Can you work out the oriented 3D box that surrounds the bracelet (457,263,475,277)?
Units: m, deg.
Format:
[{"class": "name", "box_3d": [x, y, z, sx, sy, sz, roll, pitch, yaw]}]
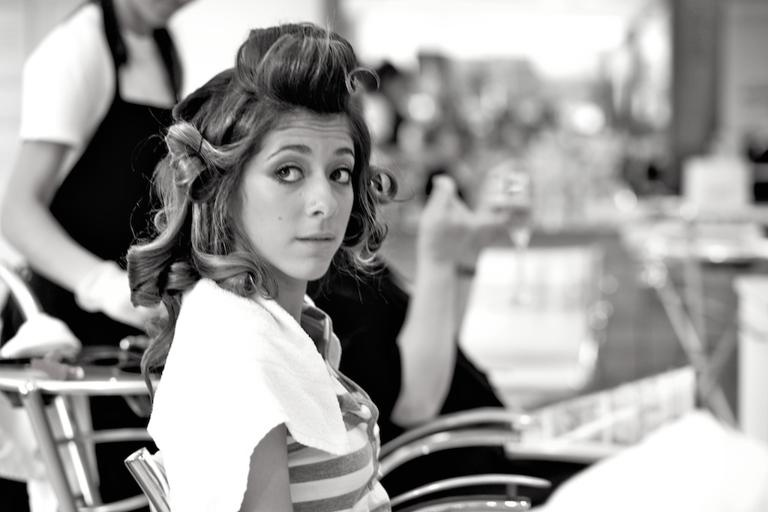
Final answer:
[{"class": "bracelet", "box_3d": [0.303, 0.049, 3.835, 0.043, 0.037, 0.044, 2, 4, 38]}]
